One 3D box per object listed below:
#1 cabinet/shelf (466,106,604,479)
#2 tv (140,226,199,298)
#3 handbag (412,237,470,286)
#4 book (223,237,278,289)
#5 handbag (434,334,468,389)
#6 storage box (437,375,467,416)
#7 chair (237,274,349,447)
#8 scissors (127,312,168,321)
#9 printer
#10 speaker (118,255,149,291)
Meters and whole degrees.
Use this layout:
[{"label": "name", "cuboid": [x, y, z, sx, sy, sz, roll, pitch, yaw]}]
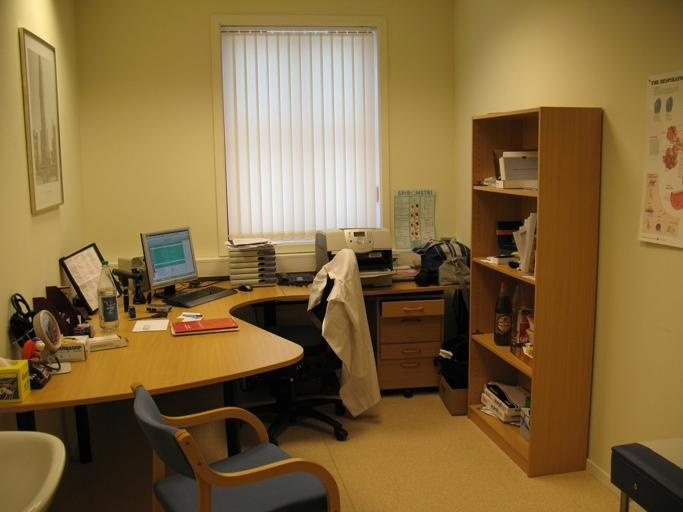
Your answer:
[{"label": "cabinet/shelf", "cuboid": [1.212, 0.171, 3.568, 0.516, 2.190, 0.984, -3, 13, -9]}, {"label": "tv", "cuboid": [-1.323, 0.067, 4.137, 0.159, 0.512, 0.464, 3, 8, 35]}, {"label": "handbag", "cuboid": [0.797, 0.120, 4.440, 0.531, 0.496, 0.312, 1, -5, -9]}, {"label": "book", "cuboid": [-0.723, 0.051, 4.340, 0.336, 0.393, 0.370, -1, 2, -11]}, {"label": "handbag", "cuboid": [0.846, 0.803, 4.157, 0.252, 0.332, 0.333, -2, 6, -11]}, {"label": "storage box", "cuboid": [0.833, 1.078, 4.135, 0.178, 0.163, 0.314, 1, 5, -3]}, {"label": "chair", "cuboid": [-0.410, 0.709, 4.103, 0.891, 1.206, 1.009, -3, -3, -31]}, {"label": "scissors", "cuboid": [-1.313, 0.411, 3.663, 0.245, 0.040, 0.088, 0, 6, -4]}, {"label": "printer", "cuboid": [0.102, -0.002, 4.483, 0.580, 0.492, 0.627, -3, 12, -9]}, {"label": "speaker", "cuboid": [-1.651, 0.136, 4.246, 0.142, 0.214, 0.211, 5, -2, -2]}]
